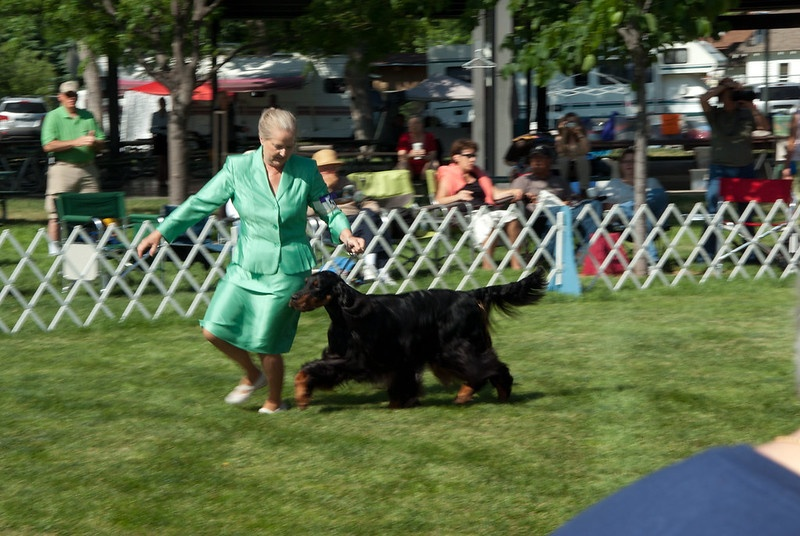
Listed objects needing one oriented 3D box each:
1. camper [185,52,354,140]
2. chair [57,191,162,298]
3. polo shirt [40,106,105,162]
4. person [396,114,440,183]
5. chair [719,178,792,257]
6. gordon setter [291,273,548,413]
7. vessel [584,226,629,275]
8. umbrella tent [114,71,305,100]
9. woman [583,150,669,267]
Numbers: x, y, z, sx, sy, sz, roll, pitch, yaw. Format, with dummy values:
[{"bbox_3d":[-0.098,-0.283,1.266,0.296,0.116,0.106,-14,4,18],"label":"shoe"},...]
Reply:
[{"bbox_3d":[-2.958,-4.395,22.776,4.614,1.723,1.949,-3,24,-4],"label":"camper"},{"bbox_3d":[-3.451,-0.390,10.836,0.967,1.006,0.978,9,12,38],"label":"chair"},{"bbox_3d":[-4.160,-1.684,11.503,0.731,0.741,0.338,-2,8,-16],"label":"polo shirt"},{"bbox_3d":[0.277,-1.892,15.024,0.850,1.142,0.732,-1,14,-6],"label":"person"},{"bbox_3d":[4.448,-0.711,11.557,1.092,1.177,0.956,0,5,4],"label":"chair"},{"bbox_3d":[0.190,0.602,7.576,2.451,1.039,0.661,-1,-3,-31],"label":"gordon setter"},{"bbox_3d":[2.463,-0.158,10.992,0.638,0.475,0.522,3,5,34],"label":"vessel"},{"bbox_3d":[-4.544,-4.462,21.943,4.536,0.584,2.037,-3,5,-5],"label":"umbrella tent"},{"bbox_3d":[3.105,-0.909,11.883,0.857,0.985,1.586,2,-34,21],"label":"woman"}]
